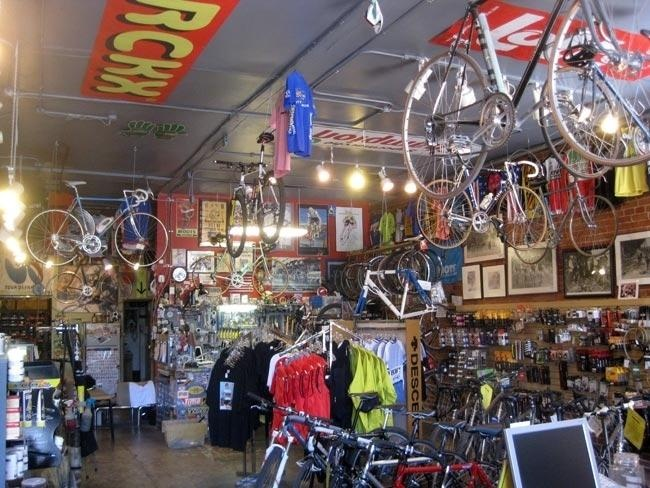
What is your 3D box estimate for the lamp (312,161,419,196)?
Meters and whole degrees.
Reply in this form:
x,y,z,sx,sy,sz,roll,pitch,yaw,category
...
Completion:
x,y,z,sx,sy,sz,roll,pitch,yaw,category
0.810,-1.351,11.230,1.844,0.388,0.685,6,-33,22,lamp
